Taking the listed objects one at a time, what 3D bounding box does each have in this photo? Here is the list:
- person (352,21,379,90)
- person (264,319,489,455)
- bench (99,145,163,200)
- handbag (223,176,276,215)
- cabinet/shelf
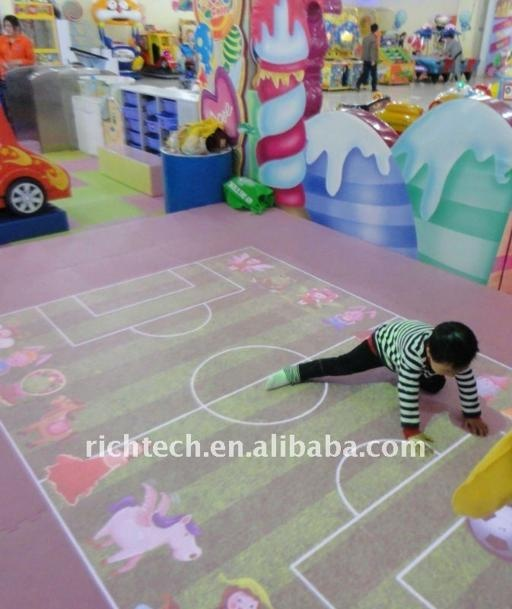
[{"bbox_3d":[1.976,-4.252,7.570,0.363,0.889,0.731,9,29,11],"label":"person"},{"bbox_3d":[0.630,0.248,1.960,0.544,0.377,0.836,0,6,-29],"label":"person"},{"bbox_3d":[-1.703,-1.794,5.774,1.015,0.345,0.304,26,36,25],"label":"bench"},{"bbox_3d":[-0.084,-1.157,4.556,0.513,0.182,0.375,23,62,13],"label":"handbag"},{"bbox_3d":[-1.879,-2.743,6.505,3.054,1.175,0.520,27,36,37],"label":"cabinet/shelf"}]
